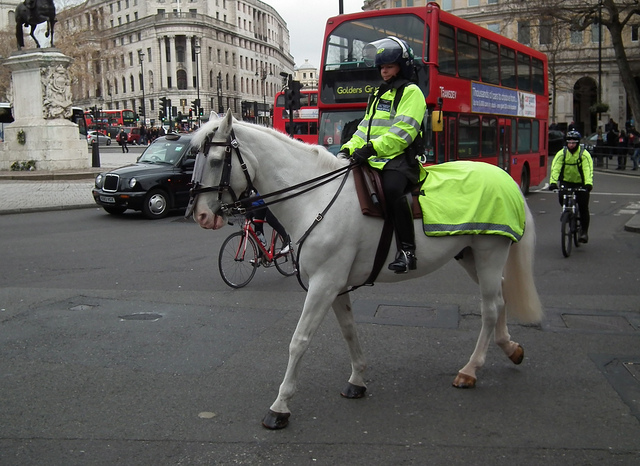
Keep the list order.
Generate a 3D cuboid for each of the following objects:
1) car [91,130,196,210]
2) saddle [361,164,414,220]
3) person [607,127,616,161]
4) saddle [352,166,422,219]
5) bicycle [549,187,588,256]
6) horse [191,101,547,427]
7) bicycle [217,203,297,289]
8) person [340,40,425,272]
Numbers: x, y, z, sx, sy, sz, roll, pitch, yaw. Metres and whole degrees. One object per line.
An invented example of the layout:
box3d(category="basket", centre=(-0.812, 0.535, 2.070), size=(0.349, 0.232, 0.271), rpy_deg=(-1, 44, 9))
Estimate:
box3d(category="car", centre=(-4.883, -1.670, 16.298), size=(2.518, 2.147, 1.274), rpy_deg=(-4, 9, -17))
box3d(category="saddle", centre=(0.602, -0.346, 5.032), size=(0.122, 0.440, 0.417), rpy_deg=(-8, 1, -17))
box3d(category="person", centre=(16.336, -4.935, 31.881), size=(0.440, 1.651, 1.944), rpy_deg=(3, 10, 26))
box3d(category="saddle", centre=(0.452, -0.322, 4.890), size=(0.462, 0.506, 0.153), rpy_deg=(1, -8, -19))
box3d(category="bicycle", centre=(4.827, -0.248, 11.006), size=(0.588, 1.244, 1.476), rpy_deg=(3, 10, 25))
box3d(category="horse", centre=(0.579, 0.312, 5.331), size=(3.427, 2.822, 1.128), rpy_deg=(-2, 5, -13))
box3d(category="bicycle", centre=(-0.935, 0.115, 9.341), size=(0.832, 1.364, 2.018), rpy_deg=(4, 5, 32))
box3d(category="person", centre=(0.600, -0.666, 5.048), size=(0.630, 2.005, 0.495), rpy_deg=(0, 9, 12))
